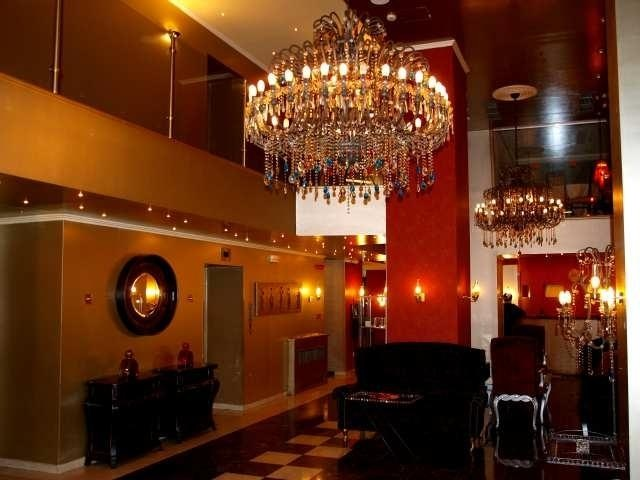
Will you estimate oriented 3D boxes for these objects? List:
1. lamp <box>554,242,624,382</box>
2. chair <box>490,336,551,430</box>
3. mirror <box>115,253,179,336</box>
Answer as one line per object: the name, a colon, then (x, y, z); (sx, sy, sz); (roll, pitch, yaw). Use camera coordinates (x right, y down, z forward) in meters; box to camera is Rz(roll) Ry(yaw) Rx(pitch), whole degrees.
lamp: (3.308, 0.930, 7.321); (0.686, 1.605, 0.689); (2, 2, -13)
chair: (3.064, 2.193, 9.158); (0.789, 1.474, 0.961); (-3, -3, 20)
mirror: (-2.809, 0.865, 9.402); (0.199, 1.300, 1.251); (-5, -4, 27)
